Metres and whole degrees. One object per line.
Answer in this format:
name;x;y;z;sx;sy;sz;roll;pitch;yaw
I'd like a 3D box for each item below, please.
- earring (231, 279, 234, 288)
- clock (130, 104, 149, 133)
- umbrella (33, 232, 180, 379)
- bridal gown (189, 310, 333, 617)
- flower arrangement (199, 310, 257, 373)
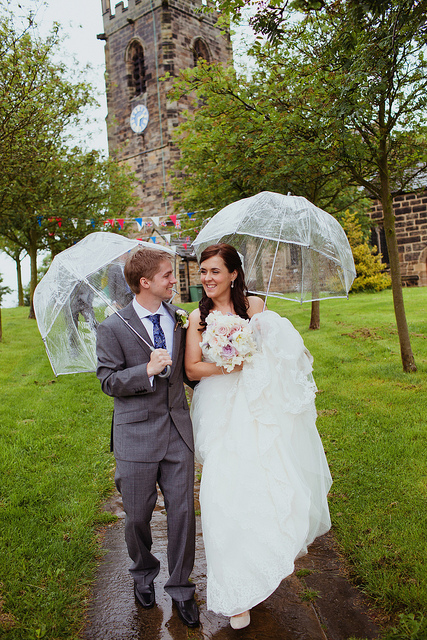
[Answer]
earring;0.119;-0.221;3.352;0.017;0.025;0.016;-4;10;4
clock;-3.566;-9.829;25.768;0.187;1.621;1.664;-5;7;-37
umbrella;-0.768;-0.144;4.175;1.127;1.141;1.042;-6;17;-37
bridal gown;0.295;0.741;3.093;0.879;1.632;0.469;1;-18;-16
flower arrangement;0.075;0.085;3.088;0.371;0.327;0.282;-8;14;-42
